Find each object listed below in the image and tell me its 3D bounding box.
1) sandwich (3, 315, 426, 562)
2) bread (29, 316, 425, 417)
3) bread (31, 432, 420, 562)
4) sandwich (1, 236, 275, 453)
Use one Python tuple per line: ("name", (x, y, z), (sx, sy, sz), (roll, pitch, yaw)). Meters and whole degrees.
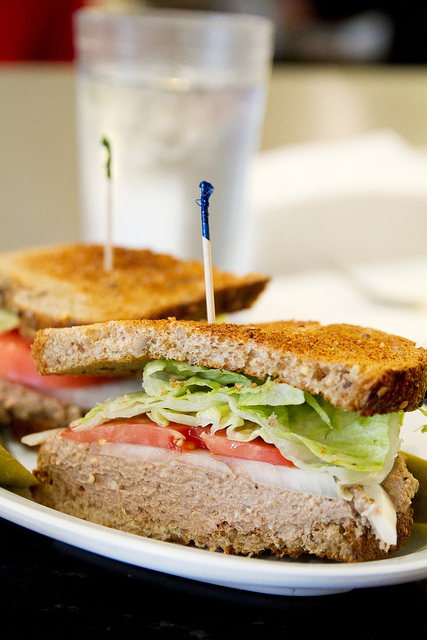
("sandwich", (0.042, 0.176, 1.194), (0.715, 0.390, 0.371), (4, 13, 20))
("bread", (0.047, 0.055, 1.212), (0.685, 0.159, 0.412), (4, 12, 20))
("bread", (-0.008, 0.246, 1.100), (0.496, 0.108, 0.272), (6, 2, 20))
("sandwich", (-0.189, 0.031, 1.756), (0.679, 0.198, 0.516), (-5, 12, -37))
